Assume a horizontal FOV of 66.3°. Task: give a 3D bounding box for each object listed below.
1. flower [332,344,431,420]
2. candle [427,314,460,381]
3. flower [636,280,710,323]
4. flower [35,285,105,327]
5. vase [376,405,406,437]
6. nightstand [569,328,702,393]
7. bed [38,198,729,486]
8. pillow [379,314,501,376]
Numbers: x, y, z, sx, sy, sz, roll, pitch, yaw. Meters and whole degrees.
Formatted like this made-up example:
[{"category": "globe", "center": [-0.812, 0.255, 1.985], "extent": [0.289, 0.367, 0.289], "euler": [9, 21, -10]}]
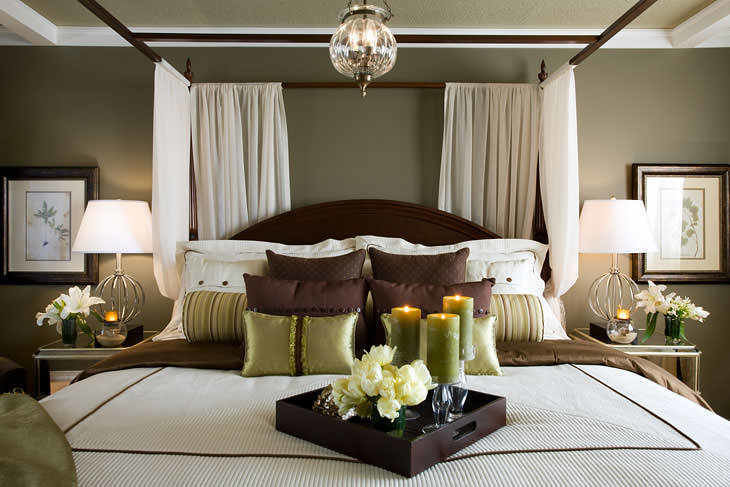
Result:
[{"category": "flower", "center": [0.077, 0.642, 2.531], "extent": [0.362, 0.254, 0.371], "euler": [0, -7, -6]}, {"category": "candle", "center": [0.362, 0.491, 2.588], "extent": [0.146, 0.318, 0.043], "euler": [1, -3, 3]}, {"category": "flower", "center": [2.330, 0.481, 4.197], "extent": [0.434, 0.203, 0.442], "euler": [-1, -13, 45]}, {"category": "flower", "center": [-2.170, 0.490, 4.268], "extent": [0.417, 0.430, 0.224], "euler": [-4, -15, 1]}, {"category": "vase", "center": [0.124, 0.824, 2.604], "extent": [0.118, 0.125, 0.122], "euler": [-1, -6, -2]}, {"category": "nightstand", "center": [2.051, 0.827, 4.164], "extent": [0.605, 0.647, 0.663], "euler": [-1, 3, 6]}, {"category": "bed", "center": [0.170, 0.358, 3.440], "extent": [3.788, 1.574, 2.056], "euler": [1, -4, 1]}, {"category": "pillow", "center": [0.372, 0.513, 2.778], "extent": [0.400, 0.252, 0.091], "euler": [0, -16, -4]}]
